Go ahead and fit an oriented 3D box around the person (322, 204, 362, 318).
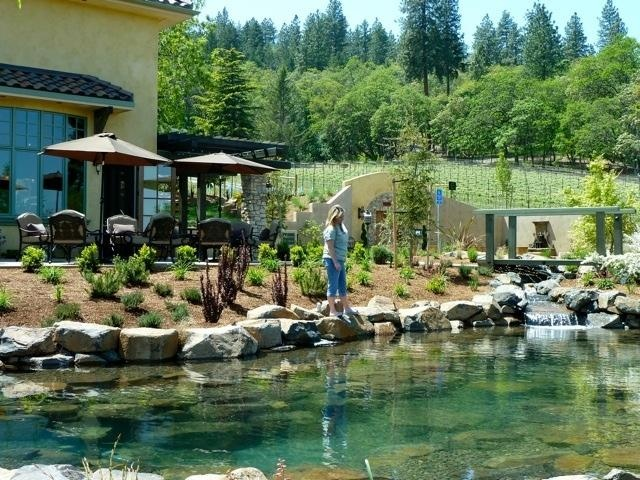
[{"bbox_3d":[0.286,0.466,13.287,0.451,2.028,1.092,-1,0,1],"label":"person"}]
